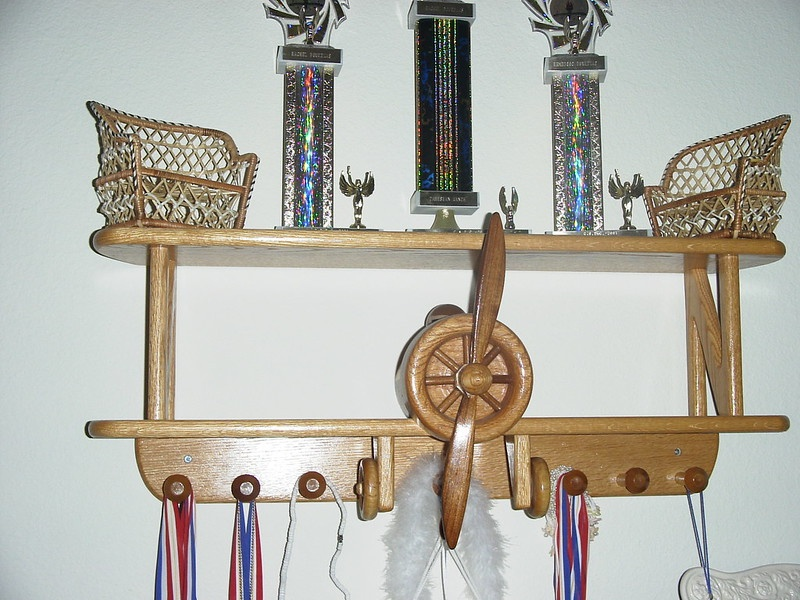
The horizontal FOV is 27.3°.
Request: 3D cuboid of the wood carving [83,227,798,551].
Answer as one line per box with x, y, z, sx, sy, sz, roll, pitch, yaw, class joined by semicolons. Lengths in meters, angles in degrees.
0.061;0.121;2.791;1.146;0.465;0.275;0;9;-7;wood carving
